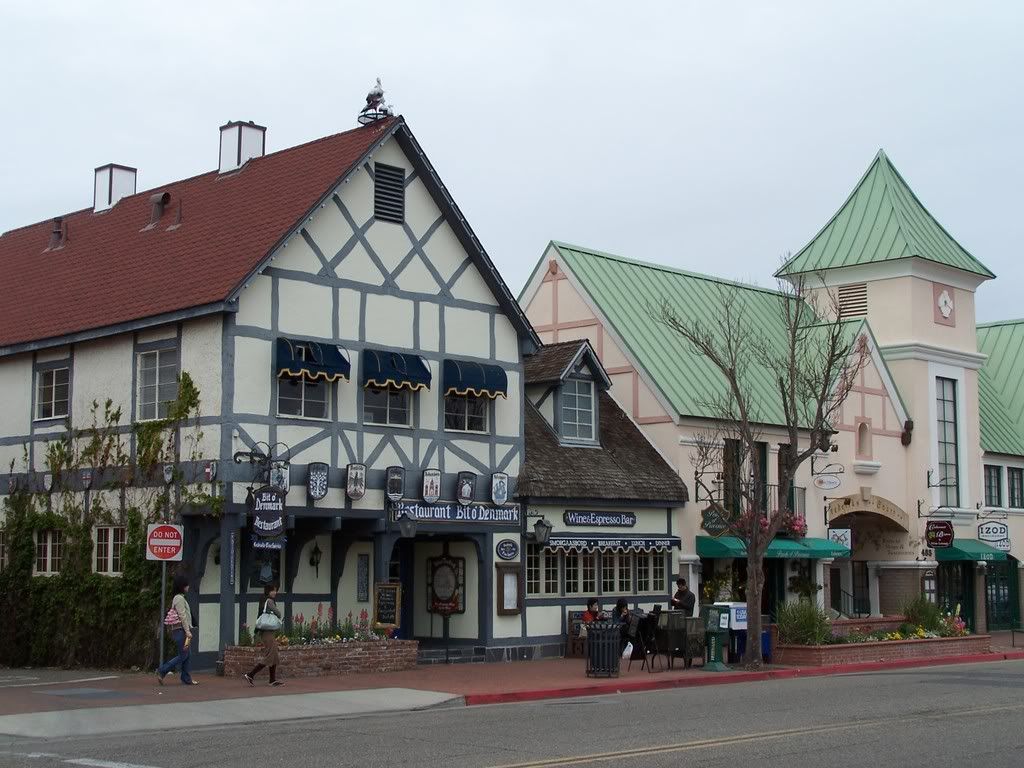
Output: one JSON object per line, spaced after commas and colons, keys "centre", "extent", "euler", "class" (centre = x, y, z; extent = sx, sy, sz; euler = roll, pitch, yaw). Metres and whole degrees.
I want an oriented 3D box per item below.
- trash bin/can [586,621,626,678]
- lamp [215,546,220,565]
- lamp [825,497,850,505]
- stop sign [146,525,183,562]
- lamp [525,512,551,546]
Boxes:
{"centre": [2.215, 5.760, 33.021], "extent": [0.941, 1.395, 0.974], "euler": [-4, -7, 38], "class": "trash bin/can"}
{"centre": [-6.441, 3.691, 32.958], "extent": [0.085, 0.393, 0.370], "euler": [3, -13, -19], "class": "lamp"}
{"centre": [9.879, 3.476, 45.821], "extent": [0.071, 0.302, 1.086], "euler": [-12, -17, 42], "class": "lamp"}
{"centre": [-7.199, 3.251, 31.203], "extent": [0.044, 0.767, 0.679], "euler": [-10, -18, 43], "class": "stop sign"}
{"centre": [0.668, 3.564, 37.659], "extent": [0.626, 0.948, 0.637], "euler": [0, -9, 0], "class": "lamp"}
